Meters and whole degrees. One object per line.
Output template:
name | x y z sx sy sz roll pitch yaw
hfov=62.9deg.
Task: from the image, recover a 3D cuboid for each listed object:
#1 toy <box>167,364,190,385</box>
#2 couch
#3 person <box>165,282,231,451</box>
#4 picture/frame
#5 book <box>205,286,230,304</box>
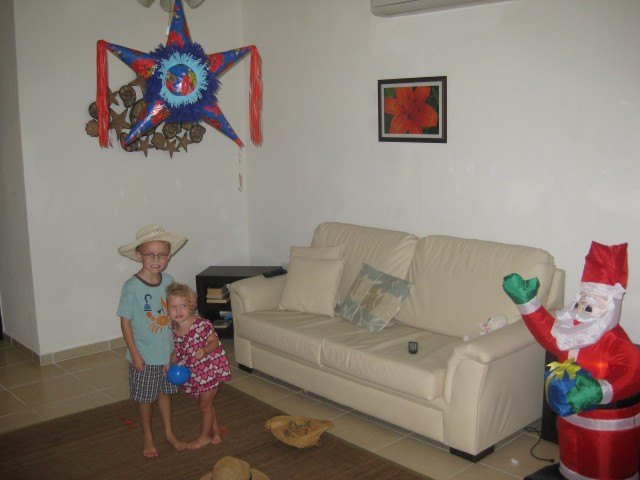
toy | -0.842 0.803 3.171 0.128 0.109 0.105 -2 39 12
couch | 0.454 0.614 4.028 1.169 1.250 2.410 -5 8 -41
person | -0.754 0.793 3.302 0.344 1.078 0.248 -6 14 -18
picture/frame | 0.762 -1.043 4.154 0.560 0.484 0.024 9 16 40
book | -0.977 0.534 4.993 0.167 0.111 0.173 2 10 -2
